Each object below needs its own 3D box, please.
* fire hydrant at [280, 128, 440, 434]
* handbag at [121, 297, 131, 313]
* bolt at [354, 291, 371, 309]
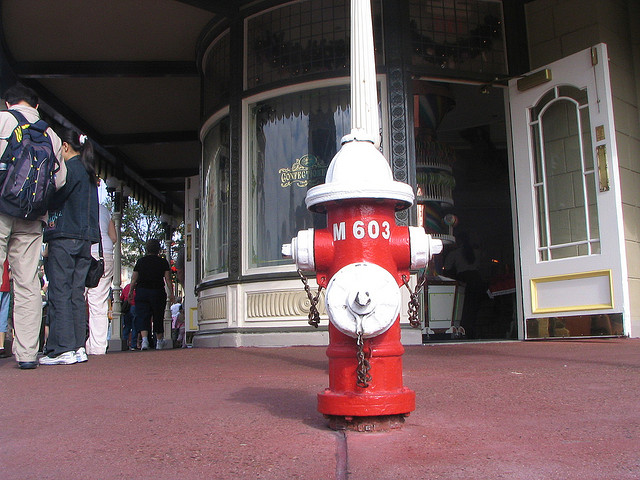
[{"bbox_3d":[0.213,0.171,2.637,0.686,1.410,0.451,-2,-8,13],"label":"fire hydrant"},{"bbox_3d":[-4.208,1.439,12.103,0.249,0.413,0.136,1,-3,-4],"label":"handbag"},{"bbox_3d":[0.185,0.252,2.408,0.053,0.067,0.019,1,-36,3],"label":"bolt"}]
